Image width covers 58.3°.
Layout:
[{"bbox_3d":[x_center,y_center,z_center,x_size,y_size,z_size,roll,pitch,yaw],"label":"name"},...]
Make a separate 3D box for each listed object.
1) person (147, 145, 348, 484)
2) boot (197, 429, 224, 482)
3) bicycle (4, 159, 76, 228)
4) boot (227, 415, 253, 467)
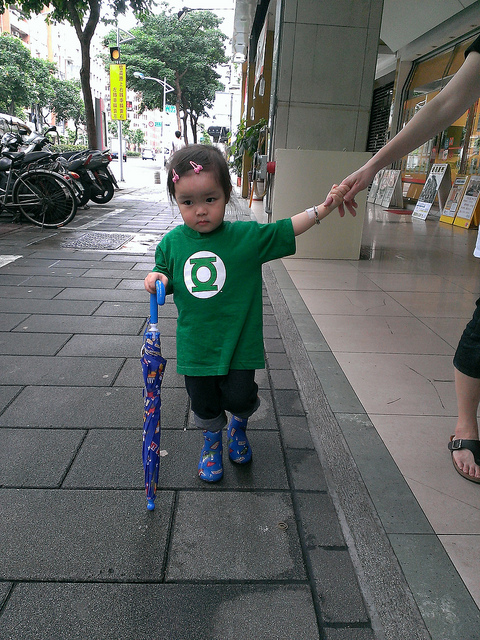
[{"bbox_3d":[-0.062,0.000,1.544,0.556,1.155,0.542,-3,12,-19],"label":"person"},{"bbox_3d":[-0.104,0.469,1.566,0.069,0.151,0.206,3,17,5],"label":"boot"},{"bbox_3d":[-3.132,-1.938,6.874,1.020,0.879,0.309,3,11,10],"label":"bicycle"},{"bbox_3d":[-0.007,0.441,1.644,0.064,0.165,0.167,-1,34,-18],"label":"boot"}]
